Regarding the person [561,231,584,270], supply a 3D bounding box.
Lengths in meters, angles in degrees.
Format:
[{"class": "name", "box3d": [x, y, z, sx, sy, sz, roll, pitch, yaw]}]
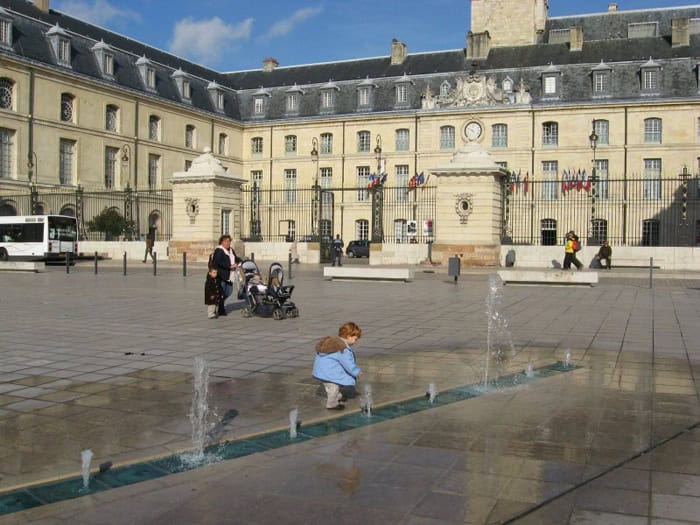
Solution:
[{"class": "person", "box3d": [7.966, -0.447, 28.757, 0.640, 1.342, 2.205, 0, 2, 16]}]

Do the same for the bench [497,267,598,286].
[{"class": "bench", "box3d": [5.520, 0.436, 22.333, 2.594, 0.393, 0.804, 1, 2, 31]}]

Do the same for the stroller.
[{"class": "stroller", "box3d": [-1.507, 0.532, 15.262, 1.226, 0.974, 0.838, 0, -1, 43]}]

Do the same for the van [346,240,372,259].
[{"class": "van", "box3d": [0.478, -0.918, 52.891, 1.443, 0.999, 2.527, 0, 2, -3]}]

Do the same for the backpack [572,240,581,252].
[{"class": "backpack", "box3d": [8.011, -0.594, 28.481, 0.210, 0.423, 0.410, 1, 3, 31]}]

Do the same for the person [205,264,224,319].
[{"class": "person", "box3d": [-2.499, 0.553, 14.768, 0.287, 0.933, 0.558, 0, 2, -8]}]

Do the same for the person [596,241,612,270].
[{"class": "person", "box3d": [9.250, -0.271, 29.244, 0.480, 0.978, 1.004, 0, 2, 13]}]
